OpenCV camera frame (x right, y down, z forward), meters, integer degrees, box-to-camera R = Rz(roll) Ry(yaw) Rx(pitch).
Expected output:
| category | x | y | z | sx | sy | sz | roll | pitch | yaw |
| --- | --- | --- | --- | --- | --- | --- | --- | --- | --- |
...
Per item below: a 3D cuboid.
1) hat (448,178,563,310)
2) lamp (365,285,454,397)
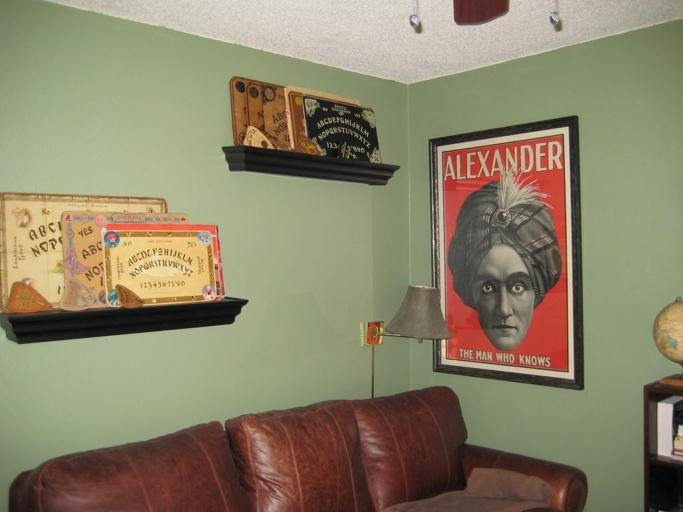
| category | x | y | z | sx | sy | sz | roll | pitch | yaw |
| --- | --- | --- | --- | --- | --- | --- | --- | --- | --- |
| hat | 0.984 | -0.080 | 3.338 | 0.621 | 0.711 | 0.290 | 1 | 5 | 33 |
| lamp | 0.353 | 0.520 | 3.284 | 0.344 | 0.561 | 0.603 | -1 | -1 | -19 |
